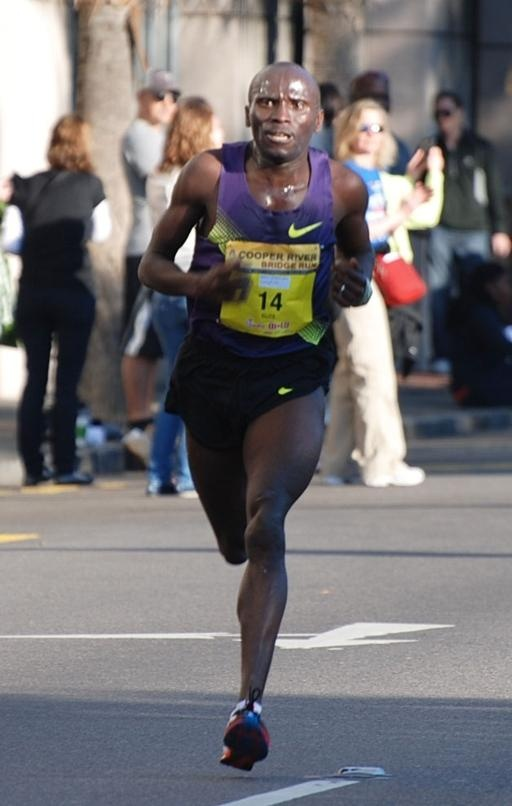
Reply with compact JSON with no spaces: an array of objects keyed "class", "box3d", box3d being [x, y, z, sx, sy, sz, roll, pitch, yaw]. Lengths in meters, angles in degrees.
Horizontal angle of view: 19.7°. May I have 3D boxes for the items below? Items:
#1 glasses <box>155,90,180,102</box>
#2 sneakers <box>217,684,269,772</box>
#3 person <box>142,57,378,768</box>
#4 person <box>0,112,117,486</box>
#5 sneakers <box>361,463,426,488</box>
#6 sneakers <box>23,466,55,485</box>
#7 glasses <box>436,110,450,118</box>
[{"class":"glasses","box3d":[-0.549,-1.929,9.236,0.079,0.058,0.079,-9,17,-36]},{"class":"sneakers","box3d":[-0.003,0.624,2.822,0.091,0.138,0.067,28,-20,-17]},{"class":"person","box3d":[-0.038,0.012,3.336,0.541,1.540,1.089,3,11,7]},{"class":"person","box3d":[-1.183,-0.596,8.866,0.594,2.220,0.526,0,11,-7]},{"class":"sneakers","box3d":[0.823,0.436,8.717,0.281,0.101,0.177,-5,-1,4]},{"class":"sneakers","box3d":[-1.318,0.447,8.997,0.151,0.053,0.114,-15,-7,40]},{"class":"glasses","box3d":[1.616,-2.496,12.693,0.068,0.018,0.064,9,-21,-11]}]
